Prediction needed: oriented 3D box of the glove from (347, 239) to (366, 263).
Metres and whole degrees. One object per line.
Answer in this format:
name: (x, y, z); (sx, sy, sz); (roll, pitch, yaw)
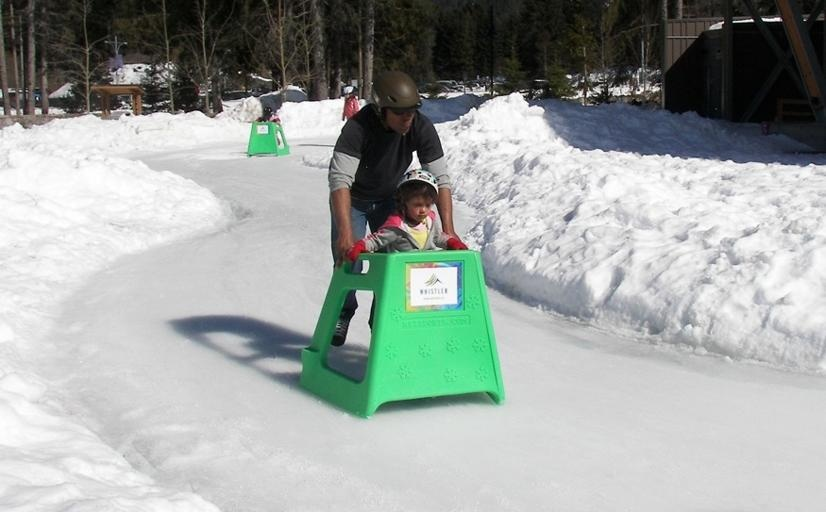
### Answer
glove: (-0.469, -0.049, 5.061); (0.108, 0.074, 0.183); (-17, -19, -31)

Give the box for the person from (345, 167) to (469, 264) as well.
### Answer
person: (-0.084, -0.362, 5.272); (0.976, 0.713, 0.436); (-6, 13, -14)

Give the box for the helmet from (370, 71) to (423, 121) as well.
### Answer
helmet: (-0.152, -1.361, 5.278); (0.287, 0.281, 0.403); (-10, 46, -29)
